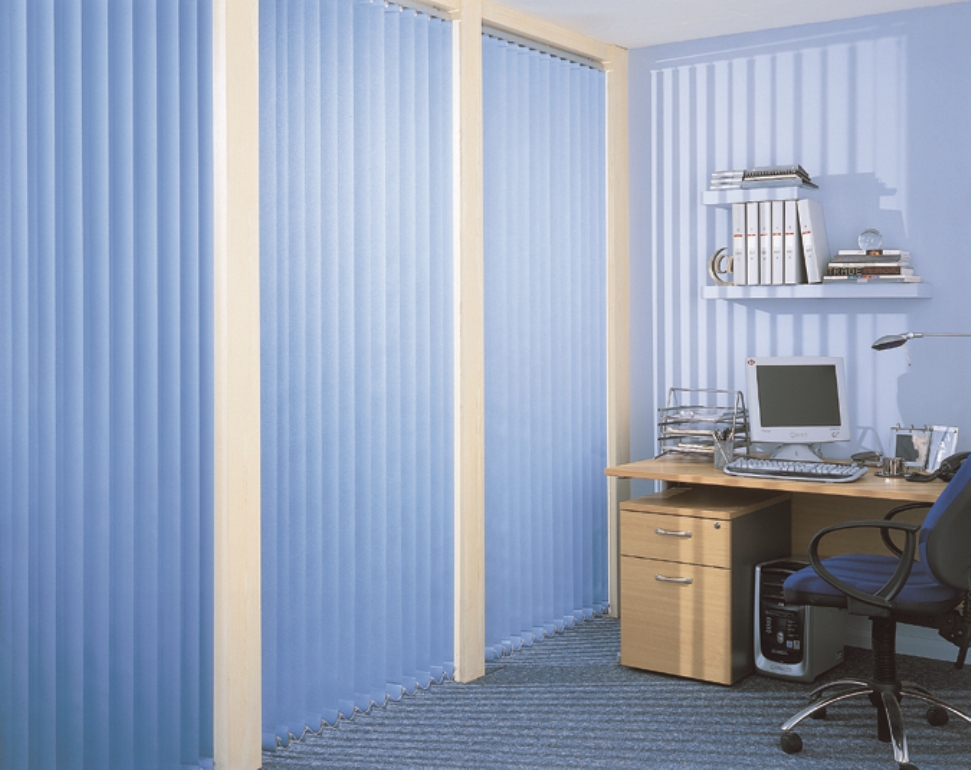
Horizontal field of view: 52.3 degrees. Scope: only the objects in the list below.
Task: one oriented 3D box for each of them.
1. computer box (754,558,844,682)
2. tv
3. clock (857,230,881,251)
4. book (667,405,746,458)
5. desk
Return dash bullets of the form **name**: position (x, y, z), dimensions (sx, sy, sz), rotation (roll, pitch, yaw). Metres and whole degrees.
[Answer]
- **computer box**: position (1.344, 1.029, 4.483), dimensions (0.323, 0.451, 0.437), rotation (3, -5, 9)
- **tv**: position (1.471, 0.093, 4.642), dimensions (0.564, 0.537, 0.241), rotation (0, -6, -1)
- **clock**: position (1.823, -0.689, 4.690), dimensions (0.112, 0.121, 0.231), rotation (2, 7, 19)
- **book**: position (1.086, 0.213, 4.880), dimensions (0.372, 0.238, 0.262), rotation (4, 7, 41)
- **desk**: position (1.356, 0.617, 4.664), dimensions (1.786, 1.047, 0.981), rotation (0, -1, 34)
